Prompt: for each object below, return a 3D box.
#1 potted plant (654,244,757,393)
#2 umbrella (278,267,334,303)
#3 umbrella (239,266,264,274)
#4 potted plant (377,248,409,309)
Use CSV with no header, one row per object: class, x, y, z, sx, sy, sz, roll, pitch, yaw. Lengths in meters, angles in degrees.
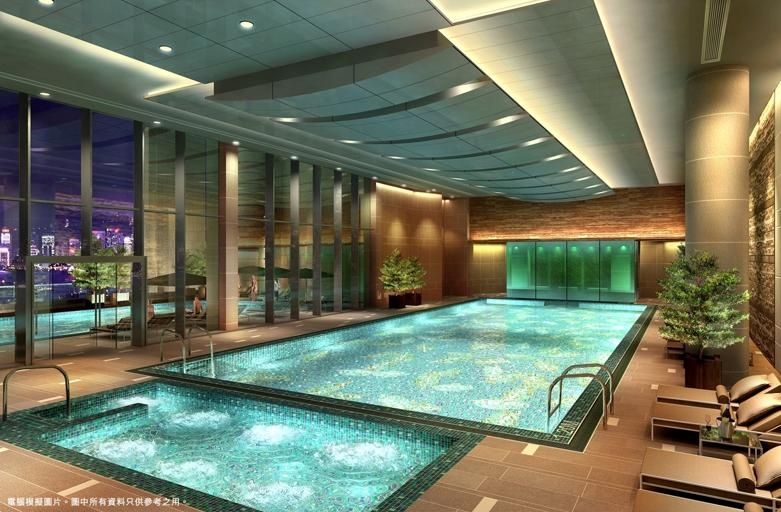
potted plant,6.495,1.322,10.358,1.662,2.743,1.573,5,10,29
umbrella,-3.344,1.201,20.231,1.960,0.957,2.026,1,1,39
umbrella,-4.878,0.517,17.526,0.268,0.321,0.942,8,10,44
potted plant,0.136,1.029,22.536,1.251,2.540,1.401,0,9,-6
